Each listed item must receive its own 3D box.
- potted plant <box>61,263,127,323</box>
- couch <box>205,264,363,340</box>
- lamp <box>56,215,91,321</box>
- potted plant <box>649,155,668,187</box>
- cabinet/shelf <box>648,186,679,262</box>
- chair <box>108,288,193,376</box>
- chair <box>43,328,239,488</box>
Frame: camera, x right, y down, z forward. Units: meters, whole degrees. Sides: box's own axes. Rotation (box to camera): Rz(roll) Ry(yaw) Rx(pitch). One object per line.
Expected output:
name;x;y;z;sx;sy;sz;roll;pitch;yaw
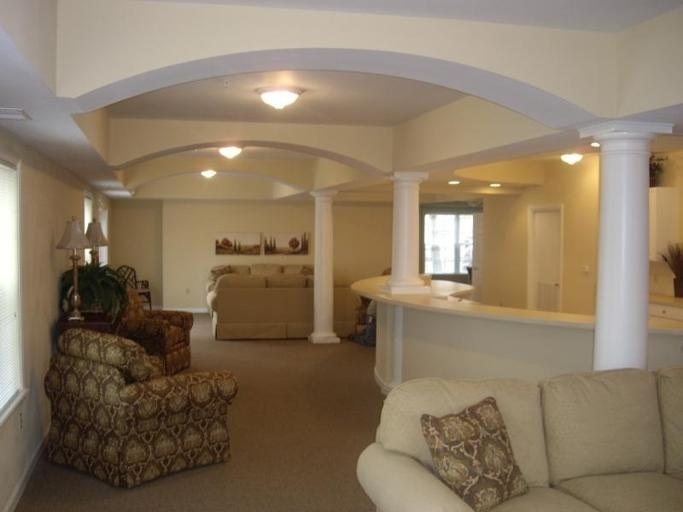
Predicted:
potted plant;-2.821;0.386;5.998;0.659;0.541;0.662;1;1;-10
couch;-1.494;0.807;11.613;2.780;1.191;4.129;0;4;-15
lamp;-2.964;0.115;5.788;0.307;1.076;0.937;-2;5;-28
potted plant;4.334;-1.186;7.180;0.171;0.451;0.202;2;4;18
cabinet/shelf;4.206;-0.413;6.834;0.400;0.960;0.124;0;4;-10
chair;-2.752;1.045;7.491;0.946;0.929;0.844;9;6;11
chair;-1.888;1.309;4.882;1.398;1.143;1.201;0;-4;30
